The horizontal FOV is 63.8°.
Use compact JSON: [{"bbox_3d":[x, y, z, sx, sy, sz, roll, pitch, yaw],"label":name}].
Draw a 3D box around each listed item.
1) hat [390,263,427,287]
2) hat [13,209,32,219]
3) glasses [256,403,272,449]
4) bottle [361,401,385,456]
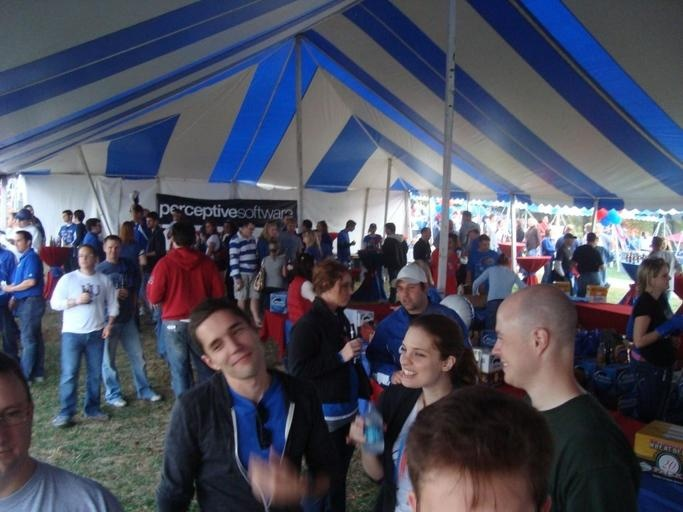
[{"bbox_3d":[0.613,0.134,4.889,0.270,0.170,0.512,-4,15,6],"label":"hat"},{"bbox_3d":[-5.327,-0.710,9.237,0.264,0.166,0.202,21,16,14],"label":"hat"},{"bbox_3d":[-0.464,1.027,3.320,0.080,0.251,0.083,-5,13,-5],"label":"glasses"},{"bbox_3d":[0.193,1.049,3.302,0.124,0.362,0.085,-5,13,-3],"label":"bottle"}]
